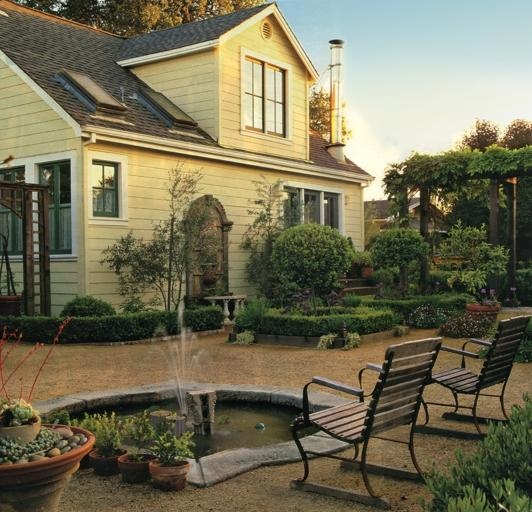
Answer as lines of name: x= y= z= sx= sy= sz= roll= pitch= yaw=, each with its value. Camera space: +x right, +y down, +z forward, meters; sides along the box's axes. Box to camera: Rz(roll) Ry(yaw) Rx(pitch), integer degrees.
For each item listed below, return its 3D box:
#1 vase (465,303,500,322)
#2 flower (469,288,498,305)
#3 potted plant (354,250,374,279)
vase: x=4.274 y=1.058 z=12.914 sx=0.497 sy=0.262 sz=0.465 roll=2 pitch=-4 yaw=-18
flower: x=5.283 y=0.950 z=16.010 sx=0.746 sy=0.352 sz=0.738 roll=0 pitch=2 yaw=-16
potted plant: x=2.519 y=0.261 z=17.785 sx=0.666 sy=0.696 sz=0.680 roll=-3 pitch=-1 yaw=22
